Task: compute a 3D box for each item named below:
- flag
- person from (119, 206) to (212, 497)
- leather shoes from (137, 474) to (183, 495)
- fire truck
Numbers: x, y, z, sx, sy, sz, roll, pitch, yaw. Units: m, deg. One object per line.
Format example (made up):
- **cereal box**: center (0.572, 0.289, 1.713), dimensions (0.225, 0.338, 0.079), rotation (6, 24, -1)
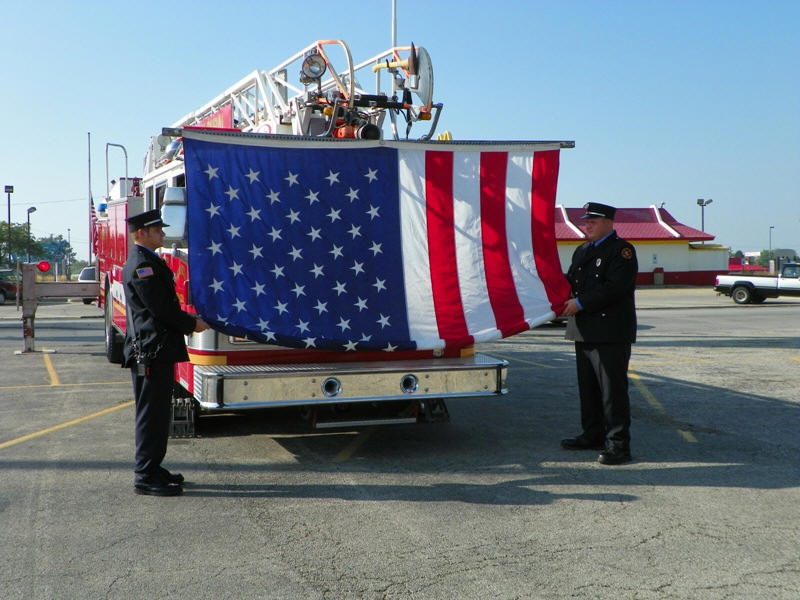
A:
- **flag**: center (-0.089, -0.515, 9.367), dimensions (3.907, 2.057, 0.085), rotation (-2, 0, -21)
- **person**: center (-2.104, 0.447, 8.338), dimensions (0.520, 2.403, 0.632), rotation (-6, 10, -44)
- **leather shoes**: center (-2.060, 1.583, 8.253), dimensions (0.384, 0.172, 0.152), rotation (1, -2, -4)
- **fire truck**: center (-0.834, -0.748, 10.428), dimensions (3.018, 3.535, 8.226), rotation (-1, 5, -23)
